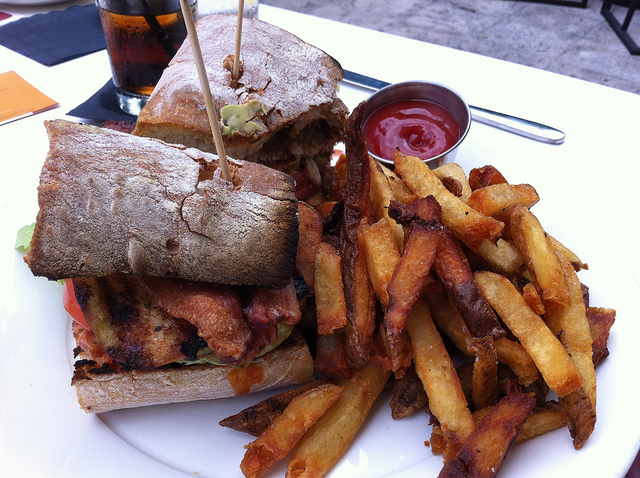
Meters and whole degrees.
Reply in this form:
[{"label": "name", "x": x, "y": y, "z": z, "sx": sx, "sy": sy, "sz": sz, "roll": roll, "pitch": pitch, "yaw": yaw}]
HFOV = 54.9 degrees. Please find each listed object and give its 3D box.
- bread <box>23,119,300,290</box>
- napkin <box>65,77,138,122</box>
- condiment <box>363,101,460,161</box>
[{"label": "bread", "x": -0.614, "y": -0.112, "z": 2.527, "sx": 1.049, "sy": 0.386, "sz": 0.478, "roll": 5, "pitch": 44, "yaw": -8}, {"label": "napkin", "x": -1.377, "y": -0.889, "z": 4.009, "sx": 0.350, "sy": 0.256, "sz": 0.498, "roll": -4, "pitch": 4, "yaw": 27}, {"label": "condiment", "x": 0.495, "y": -0.608, "z": 3.443, "sx": 0.575, "sy": 0.372, "sz": 0.370, "roll": -1, "pitch": 19, "yaw": 3}]
